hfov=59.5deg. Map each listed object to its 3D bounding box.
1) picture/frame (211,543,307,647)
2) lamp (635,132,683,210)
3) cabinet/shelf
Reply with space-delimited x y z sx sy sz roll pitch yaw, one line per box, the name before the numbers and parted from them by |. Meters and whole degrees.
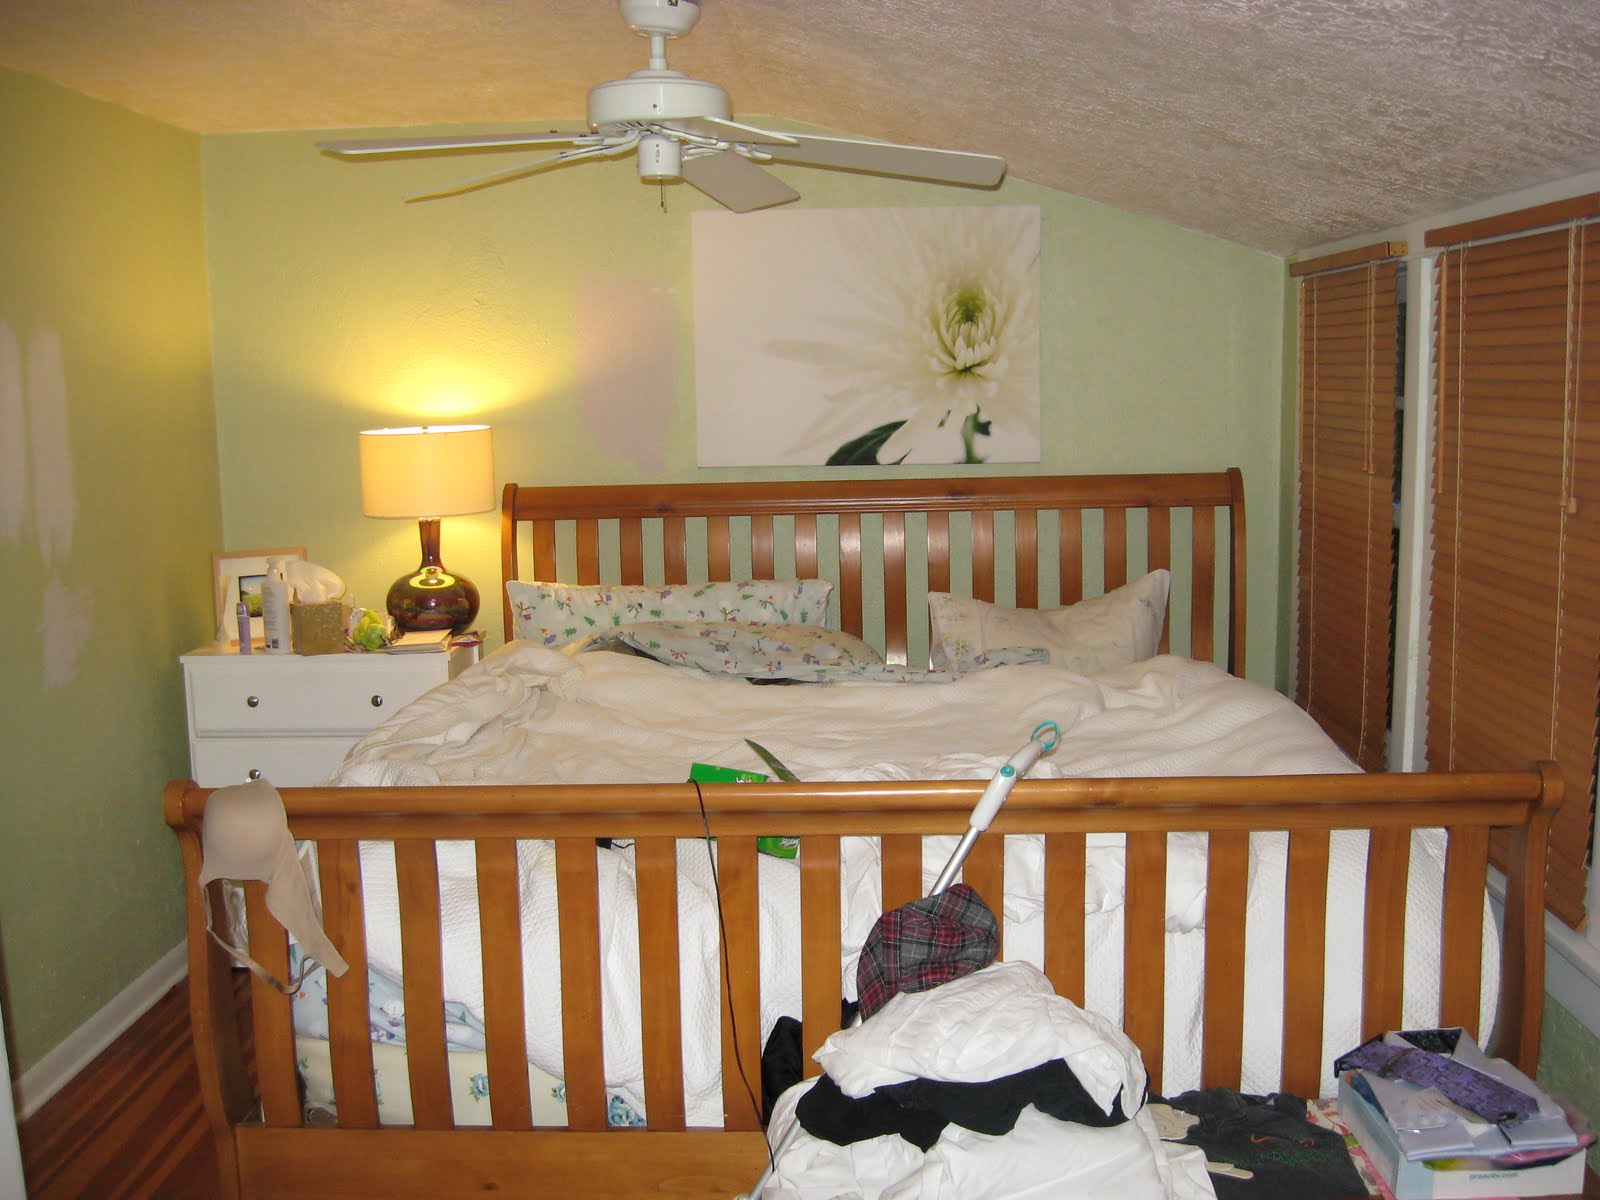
picture/frame | -1.613 -0.006 4.178 0.286 0.323 0.023 -6 -29 -7
lamp | -0.268 -0.847 2.695 0.083 0.074 0.116 -3 7 -4
cabinet/shelf | -1.364 0.525 4.136 0.748 0.700 0.418 0 3 2
